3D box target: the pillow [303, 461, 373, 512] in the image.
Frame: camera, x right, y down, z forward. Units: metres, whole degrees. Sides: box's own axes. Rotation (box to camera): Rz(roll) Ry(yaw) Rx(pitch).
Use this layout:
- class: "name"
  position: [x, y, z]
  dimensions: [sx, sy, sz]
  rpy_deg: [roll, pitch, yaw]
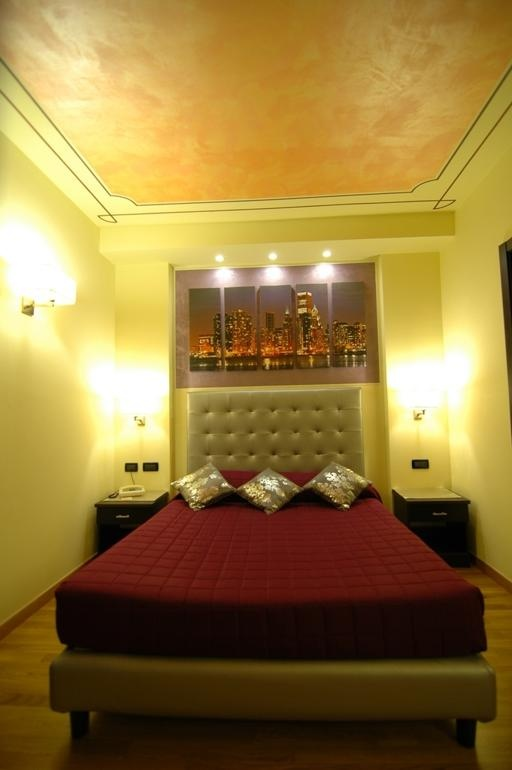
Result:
- class: "pillow"
  position: [0.499, 0.636, 3.421]
  dimensions: [0.260, 0.074, 0.272]
  rpy_deg: [20, 42, 38]

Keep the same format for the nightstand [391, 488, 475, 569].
- class: "nightstand"
  position: [1.195, 0.902, 3.684]
  dimensions: [0.508, 0.505, 0.424]
  rpy_deg: [0, -2, 9]

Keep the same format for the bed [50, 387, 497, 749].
- class: "bed"
  position: [0.078, 0.699, 3.265]
  dimensions: [1.649, 1.305, 2.851]
  rpy_deg: [-1, -3, 5]

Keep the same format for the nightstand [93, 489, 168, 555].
- class: "nightstand"
  position: [-0.878, 0.964, 3.813]
  dimensions: [0.357, 0.375, 0.401]
  rpy_deg: [0, 1, 2]
